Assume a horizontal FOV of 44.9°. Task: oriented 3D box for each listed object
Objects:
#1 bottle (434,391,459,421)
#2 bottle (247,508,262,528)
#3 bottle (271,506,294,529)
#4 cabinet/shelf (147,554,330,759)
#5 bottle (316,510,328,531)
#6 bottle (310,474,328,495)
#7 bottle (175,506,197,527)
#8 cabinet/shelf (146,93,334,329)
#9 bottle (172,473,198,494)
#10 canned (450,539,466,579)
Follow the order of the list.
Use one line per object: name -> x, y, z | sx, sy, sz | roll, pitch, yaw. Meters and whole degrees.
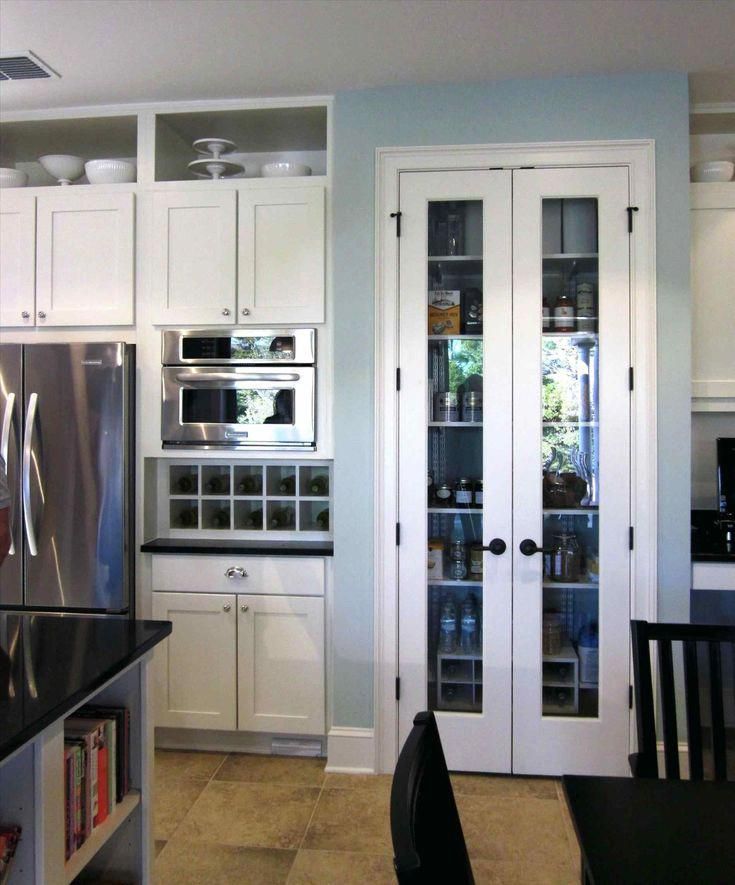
bottle -> 0.282, -0.125, 3.245 | 0.105, 0.126, 0.068 | 0, 0, 0
bottle -> -0.449, 0.310, 3.564 | 0.042, 0.067, 0.067 | -3, 6, -21
bottle -> -0.340, 0.304, 3.552 | 0.045, 0.053, 0.123 | 7, 14, 2
cabinet/shelf -> -0.453, 0.773, 3.276 | 0.630, 0.705, 0.286 | -1, -5, 8
bottle -> -0.181, 0.310, 3.590 | 0.042, 0.076, 0.117 | -1, 6, -5
bottle -> -0.198, 0.173, 3.601 | 0.056, 0.047, 0.078 | 9, 18, 21
bottle -> -0.736, 0.296, 3.642 | 0.058, 0.094, 0.030 | 3, -36, -13
cabinet/shelf -> -0.474, -0.864, 3.522 | 0.697, 0.807, 0.518 | 0, 5, 5
bottle -> -0.749, 0.172, 3.660 | 0.094, 0.066, 0.098 | -1, 10, 0
canned -> 0.330, 0.418, 3.187 | 0.061, 0.135, 0.036 | -1, 2, 6
